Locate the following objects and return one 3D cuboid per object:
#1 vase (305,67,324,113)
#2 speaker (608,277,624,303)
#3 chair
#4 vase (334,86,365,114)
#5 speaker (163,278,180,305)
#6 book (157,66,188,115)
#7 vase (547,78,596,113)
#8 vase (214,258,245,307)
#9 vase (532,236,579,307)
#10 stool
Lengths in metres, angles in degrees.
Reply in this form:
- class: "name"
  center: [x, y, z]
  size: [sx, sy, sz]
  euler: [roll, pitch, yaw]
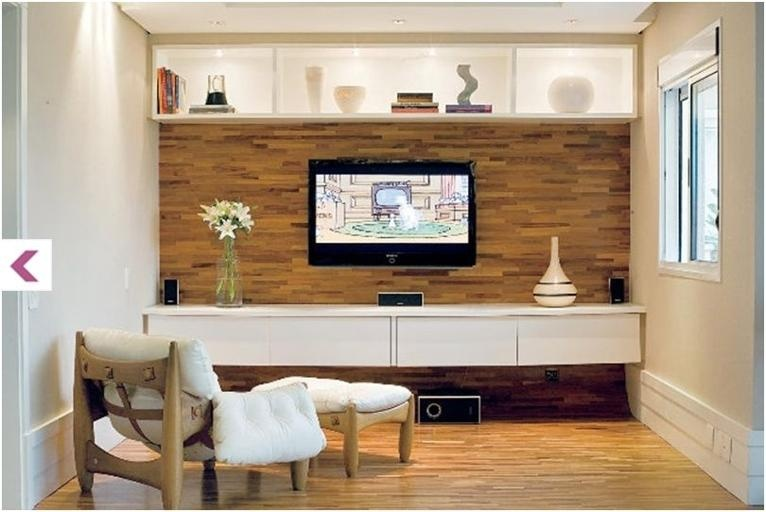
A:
- class: "vase"
  center: [-0.608, -1.422, 5.984]
  size: [0.142, 0.400, 0.147]
  euler: [7, 15, 30]
- class: "speaker"
  center: [2.035, 0.305, 6.082]
  size: [0.129, 0.212, 0.136]
  euler: [3, 13, 13]
- class: "chair"
  center: [-1.175, 1.017, 4.692]
  size: [1.394, 0.780, 1.323]
  euler: [-2, -3, 31]
- class: "vase"
  center: [-0.291, -1.336, 6.047]
  size: [0.267, 0.179, 0.255]
  euler: [1, 7, 19]
- class: "speaker"
  center: [-1.878, 0.318, 6.115]
  size: [0.133, 0.212, 0.112]
  euler: [-2, 13, -7]
- class: "book"
  center: [-1.841, -1.422, 6.018]
  size: [0.284, 0.424, 0.472]
  euler: [1, 6, 1]
- class: "vase"
  center: [1.587, -1.361, 5.928]
  size: [0.343, 0.271, 0.347]
  euler: [0, 5, 19]
- class: "vase"
  center: [-1.321, 0.229, 5.921]
  size: [0.215, 0.415, 0.154]
  euler: [-3, 13, -12]
- class: "vase"
  center: [1.443, 0.150, 5.980]
  size: [0.306, 0.577, 0.335]
  euler: [-4, 13, -16]
- class: "stool"
  center: [-0.286, 1.079, 5.028]
  size: [1.108, 0.515, 0.766]
  euler: [-4, -9, 37]
